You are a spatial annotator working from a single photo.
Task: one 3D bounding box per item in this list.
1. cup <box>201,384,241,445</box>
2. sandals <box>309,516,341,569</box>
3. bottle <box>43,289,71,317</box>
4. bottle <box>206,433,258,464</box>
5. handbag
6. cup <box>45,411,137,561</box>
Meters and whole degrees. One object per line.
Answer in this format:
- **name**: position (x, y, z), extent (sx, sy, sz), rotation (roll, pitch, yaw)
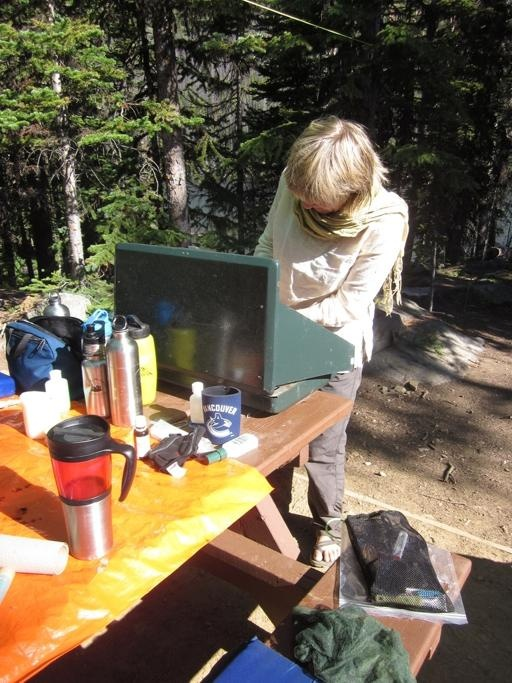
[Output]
- **cup**: position (-0.063, 0.217, 1.581), extent (0.136, 0.136, 0.125), rotation (-3, -5, 0)
- **sandals**: position (0.342, 0.924, 2.597), extent (0.120, 0.073, 0.292), rotation (12, 28, 23)
- **bottle**: position (-1.098, -0.211, 3.085), extent (0.113, 0.157, 0.371), rotation (2, 12, -18)
- **bottle**: position (-0.058, 0.287, 1.501), extent (0.163, 0.036, 0.049), rotation (-22, 1, -43)
- **handbag**: position (-0.669, 0.058, 1.783), extent (0.244, 0.217, 0.157), rotation (11, 19, 35)
- **cup**: position (-0.347, 0.287, 1.162), extent (0.169, 0.274, 0.200), rotation (1, 13, -21)
